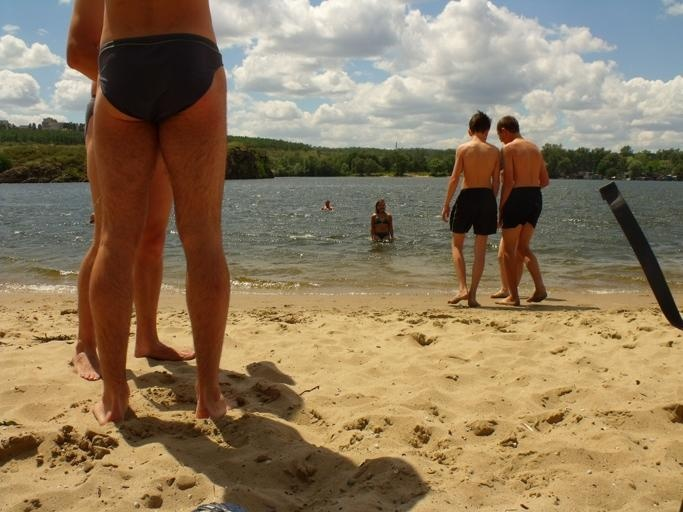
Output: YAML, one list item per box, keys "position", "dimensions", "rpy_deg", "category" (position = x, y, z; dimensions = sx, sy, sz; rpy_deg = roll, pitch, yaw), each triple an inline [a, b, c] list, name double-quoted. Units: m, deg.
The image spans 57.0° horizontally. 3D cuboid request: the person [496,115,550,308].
- position: [2.243, -0.528, 7.783]
  dimensions: [0.716, 2.351, 1.021]
  rpy_deg: [2, 12, 14]
  category: "person"
